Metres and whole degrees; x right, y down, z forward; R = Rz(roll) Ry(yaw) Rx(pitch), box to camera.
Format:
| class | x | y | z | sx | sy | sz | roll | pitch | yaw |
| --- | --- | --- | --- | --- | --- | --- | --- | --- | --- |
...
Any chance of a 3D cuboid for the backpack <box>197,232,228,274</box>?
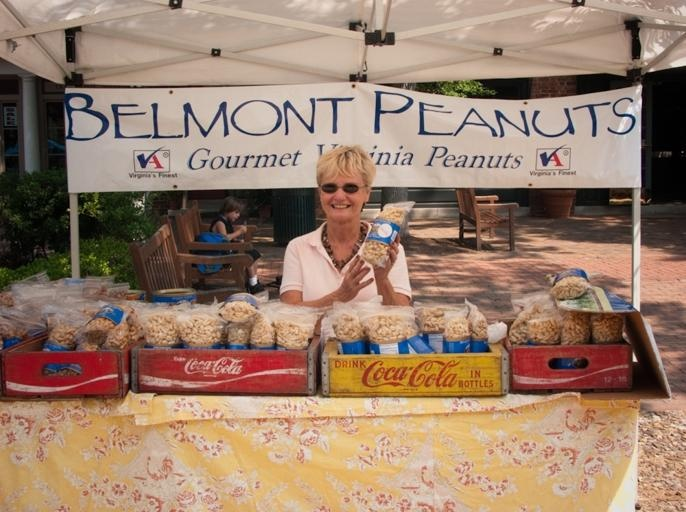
| class | x | y | z | sx | sy | sz | roll | pitch | yaw |
| --- | --- | --- | --- | --- | --- | --- | --- | --- | --- |
| backpack | -1.521 | -0.032 | 7.665 | 0.348 | 0.435 | 0.416 | -8 | 19 | -22 |

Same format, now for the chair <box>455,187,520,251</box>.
| class | x | y | z | sx | sy | sz | roll | pitch | yaw |
| --- | --- | --- | --- | --- | --- | --- | --- | --- | --- |
| chair | 2.941 | -0.868 | 13.692 | 1.044 | 1.105 | 2.330 | 0 | 9 | 1 |
